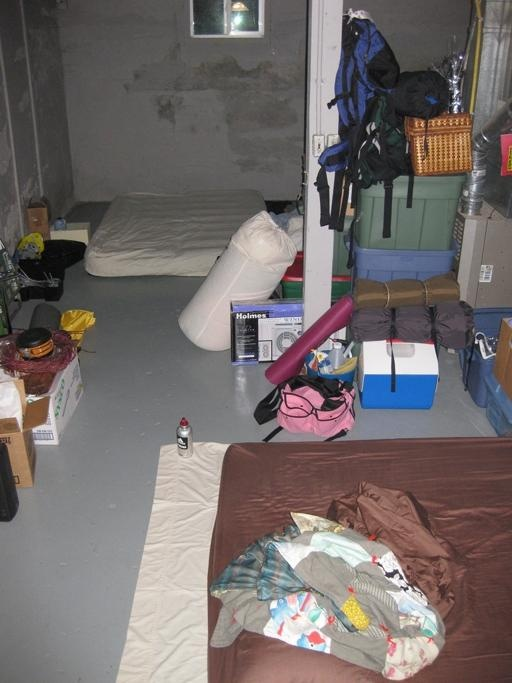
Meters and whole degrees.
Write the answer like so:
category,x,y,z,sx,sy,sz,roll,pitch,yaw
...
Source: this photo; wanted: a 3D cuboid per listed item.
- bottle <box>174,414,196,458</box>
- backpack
category,x,y,z,sx,sy,sz,roll,pitch,yaw
bottle,-0.387,0.484,2.726,0.091,0.211,0.145,-5,23,-9
backpack,0.728,-1.361,2.975,0.712,0.937,0.258,5,23,13
